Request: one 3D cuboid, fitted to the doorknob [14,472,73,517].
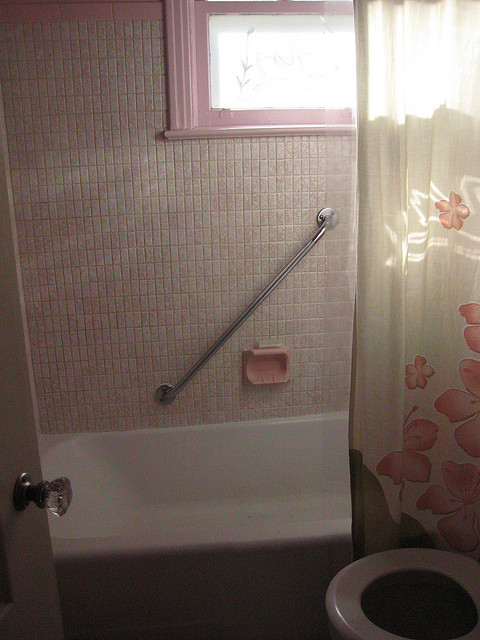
[{"bbox_3d":[-0.252,0.220,0.708,0.060,0.055,0.046,-1,-3,15],"label":"doorknob"}]
